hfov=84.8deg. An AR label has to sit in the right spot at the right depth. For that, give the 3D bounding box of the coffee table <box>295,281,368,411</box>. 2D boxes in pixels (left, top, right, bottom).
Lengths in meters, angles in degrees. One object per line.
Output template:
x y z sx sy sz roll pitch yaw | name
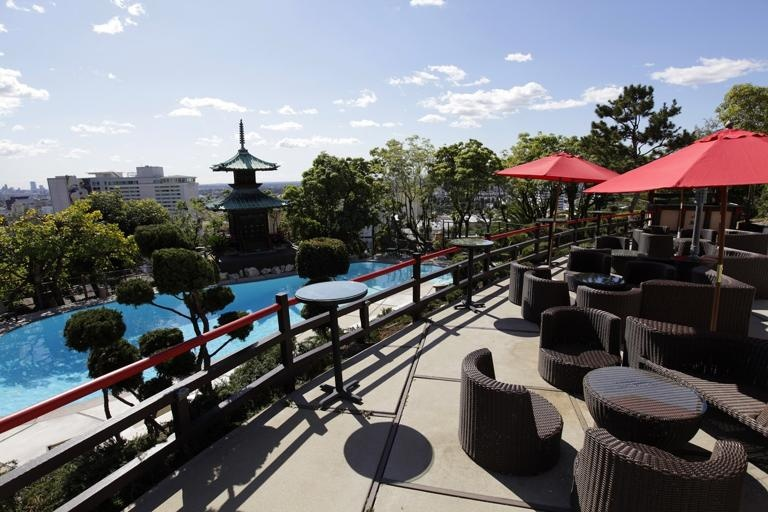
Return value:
-0.573 1.015 4.958 0.799 1.372 0.749 -5 11 -4 | coffee table

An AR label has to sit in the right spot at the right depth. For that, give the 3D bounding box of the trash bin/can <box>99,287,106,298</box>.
-13.845 1.719 20.681 0.362 0.504 0.558 -12 12 -35 | trash bin/can

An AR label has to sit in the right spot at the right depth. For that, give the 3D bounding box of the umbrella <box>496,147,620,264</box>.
3.207 -0.942 8.147 2.178 1.990 2.204 -14 21 -36 | umbrella
